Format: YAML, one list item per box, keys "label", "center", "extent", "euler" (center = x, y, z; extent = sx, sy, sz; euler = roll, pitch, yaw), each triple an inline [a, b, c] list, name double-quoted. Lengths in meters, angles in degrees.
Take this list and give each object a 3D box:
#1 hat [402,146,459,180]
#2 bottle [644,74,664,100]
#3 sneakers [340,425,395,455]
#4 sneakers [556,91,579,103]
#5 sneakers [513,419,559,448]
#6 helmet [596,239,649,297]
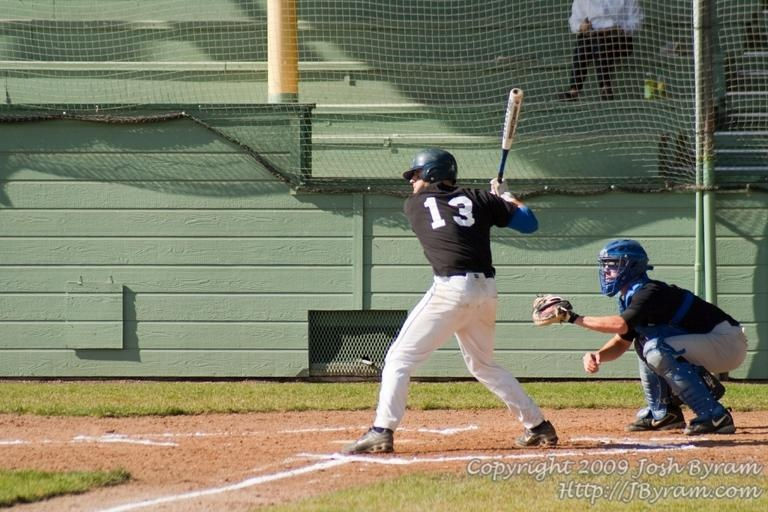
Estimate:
- label: "hat"
  center: [0.475, -0.934, 15.268]
  extent: [0.669, 0.298, 0.408]
  euler: [-5, -8, 18]
- label: "bottle"
  center: [3.388, -2.090, 18.082]
  extent: [0.273, 0.301, 0.122]
  euler: [1, 14, -1]
- label: "sneakers"
  center: [-0.104, 1.875, 14.783]
  extent: [0.639, 0.220, 0.203]
  euler: [0, -5, 8]
- label: "sneakers"
  center: [2.312, -1.985, 18.142]
  extent: [0.225, 0.042, 0.136]
  euler: [-7, 19, -14]
- label: "sneakers"
  center: [1.620, 1.821, 14.939]
  extent: [0.615, 0.219, 0.189]
  euler: [-5, 12, -5]
- label: "helmet"
  center: [2.503, 0.093, 15.432]
  extent: [0.665, 0.476, 0.519]
  euler: [-13, 8, -35]
